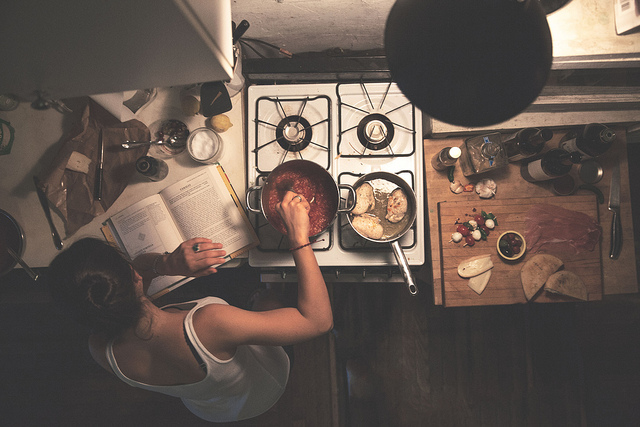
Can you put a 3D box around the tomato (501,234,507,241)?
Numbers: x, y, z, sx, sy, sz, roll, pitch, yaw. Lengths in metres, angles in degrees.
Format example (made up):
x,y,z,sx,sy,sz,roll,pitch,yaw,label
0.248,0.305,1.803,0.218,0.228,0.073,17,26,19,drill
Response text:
x,y,z,sx,sy,sz,roll,pitch,yaw,label
1.082,0.138,3.186,0.031,0.032,0.011,-4,16,6,tomato

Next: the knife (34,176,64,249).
x,y,z,sx,sy,sz,roll,pitch,yaw,label
-1.588,0.001,3.186,0.045,0.429,0.046,-14,4,-10,knife

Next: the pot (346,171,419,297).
x,y,z,sx,sy,sz,roll,pitch,yaw,label
0.368,0.081,3.034,0.410,0.592,0.358,3,18,28,pot

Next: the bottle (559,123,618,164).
x,y,z,sx,sy,sz,roll,pitch,yaw,label
1.531,-0.398,3.128,0.279,0.242,0.247,1,18,24,bottle

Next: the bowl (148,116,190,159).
x,y,z,sx,sy,sz,roll,pitch,yaw,label
-0.910,-0.458,3.275,0.232,0.242,0.055,-2,8,5,bowl

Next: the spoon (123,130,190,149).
x,y,z,sx,sy,sz,roll,pitch,yaw,label
-0.968,-0.425,3.243,0.413,0.119,0.136,-4,56,-14,spoon

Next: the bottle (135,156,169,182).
x,y,z,sx,sy,sz,roll,pitch,yaw,label
-0.972,-0.261,3.160,0.151,0.150,0.166,-2,4,-3,bottle

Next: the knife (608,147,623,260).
x,y,z,sx,sy,sz,roll,pitch,yaw,label
1.733,-0.062,3.171,0.081,0.586,0.033,1,-3,5,knife

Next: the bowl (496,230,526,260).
x,y,z,sx,sy,sz,roll,pitch,yaw,label
1.113,0.185,3.127,0.161,0.162,0.063,-3,8,-3,bowl

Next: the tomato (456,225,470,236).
x,y,z,sx,sy,sz,roll,pitch,yaw,label
0.842,0.098,3.196,0.067,0.050,0.040,28,-17,-6,tomato
